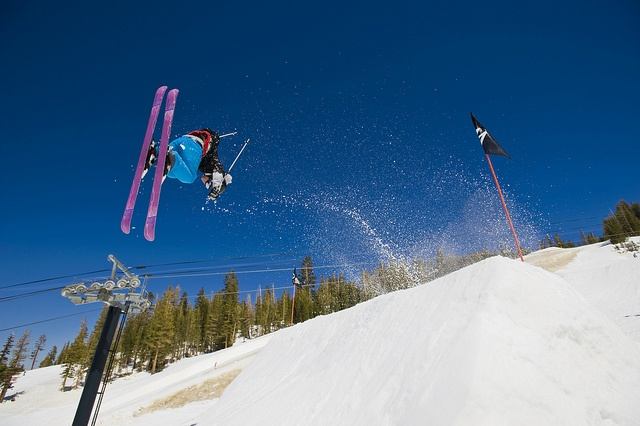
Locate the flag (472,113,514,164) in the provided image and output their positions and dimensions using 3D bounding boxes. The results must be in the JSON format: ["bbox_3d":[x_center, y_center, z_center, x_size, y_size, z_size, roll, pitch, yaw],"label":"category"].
[{"bbox_3d":[9.523,-4.507,24.055,1.021,2.482,1.082,-15,-7,25],"label":"flag"}]
